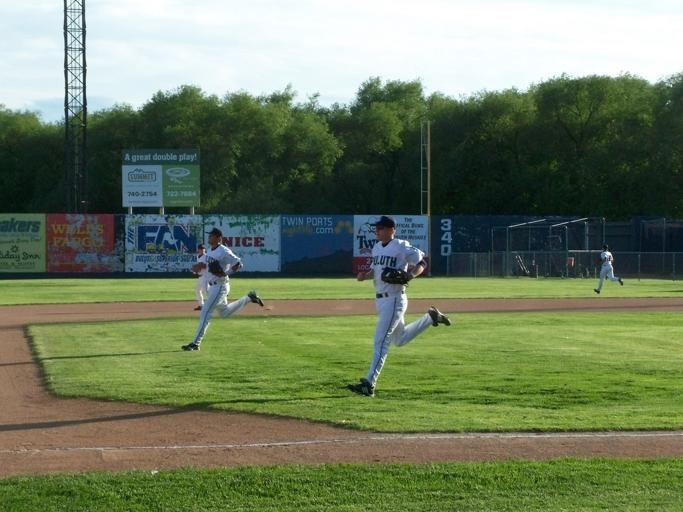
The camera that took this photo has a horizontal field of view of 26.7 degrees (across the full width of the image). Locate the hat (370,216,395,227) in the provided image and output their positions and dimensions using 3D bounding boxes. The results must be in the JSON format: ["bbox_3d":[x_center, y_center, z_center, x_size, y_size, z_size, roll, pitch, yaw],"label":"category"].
[{"bbox_3d":[1.336,-1.097,45.504,0.698,0.267,0.463,1,-1,0],"label":"hat"}]

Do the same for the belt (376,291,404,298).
[{"bbox_3d":[1.548,1.232,45.377,0.757,0.158,0.133,0,0,0],"label":"belt"}]

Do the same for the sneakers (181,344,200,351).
[{"bbox_3d":[-5.057,3.090,48.394,0.589,0.259,0.220,3,1,24],"label":"sneakers"}]
